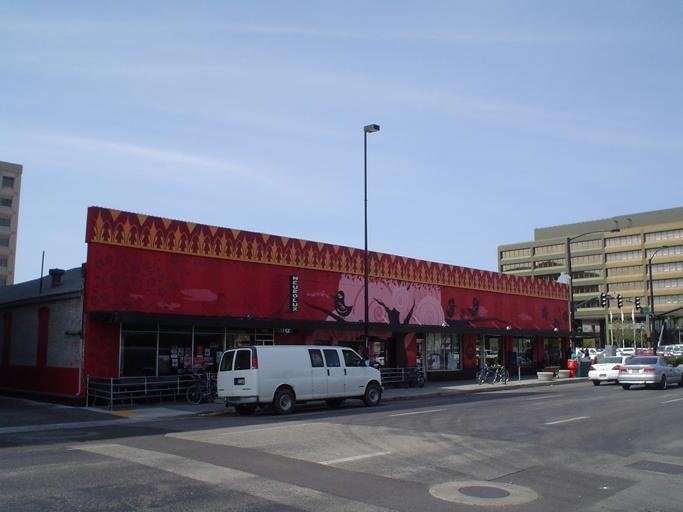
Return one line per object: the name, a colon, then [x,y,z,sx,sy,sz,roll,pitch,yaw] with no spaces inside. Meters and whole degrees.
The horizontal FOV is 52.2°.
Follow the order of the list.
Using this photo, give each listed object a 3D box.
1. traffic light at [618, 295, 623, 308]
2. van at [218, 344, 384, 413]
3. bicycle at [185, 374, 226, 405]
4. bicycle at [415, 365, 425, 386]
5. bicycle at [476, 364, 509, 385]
traffic light: [18.802,3.010,47.252,0.252,0.878,0.797,-8,-13,35]
van: [-1.350,4.607,25.815,6.470,2.417,1.923,8,-14,-38]
bicycle: [-5.523,5.305,27.595,0.900,1.335,2.050,-11,-19,33]
bicycle: [4.085,6.539,36.339,0.584,0.754,1.137,-3,-44,11]
bicycle: [8.203,6.571,38.542,1.763,1.116,0.889,11,-16,-39]
